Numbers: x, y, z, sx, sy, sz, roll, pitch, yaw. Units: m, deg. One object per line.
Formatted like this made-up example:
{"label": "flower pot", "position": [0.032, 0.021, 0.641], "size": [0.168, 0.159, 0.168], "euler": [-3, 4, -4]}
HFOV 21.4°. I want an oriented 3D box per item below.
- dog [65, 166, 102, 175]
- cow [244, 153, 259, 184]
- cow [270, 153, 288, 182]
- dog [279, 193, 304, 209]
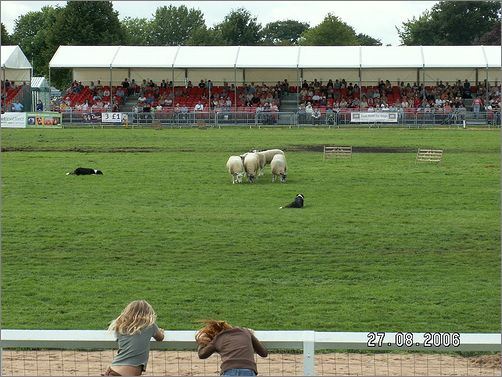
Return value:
{"label": "dog", "position": [-10.105, -1.174, 81.089], "size": [2.174, 0.469, 0.863], "euler": [-1, 11, -4]}
{"label": "cow", "position": [0.072, -1.343, 79.507], "size": [0.764, 1.720, 0.917], "euler": [6, 13, 30]}
{"label": "cow", "position": [1.717, -1.343, 79.662], "size": [0.913, 1.651, 1.245], "euler": [0, 11, 1]}
{"label": "dog", "position": [2.533, 0.682, 75.641], "size": [0.558, 0.721, 1.761], "euler": [14, 17, 40]}
